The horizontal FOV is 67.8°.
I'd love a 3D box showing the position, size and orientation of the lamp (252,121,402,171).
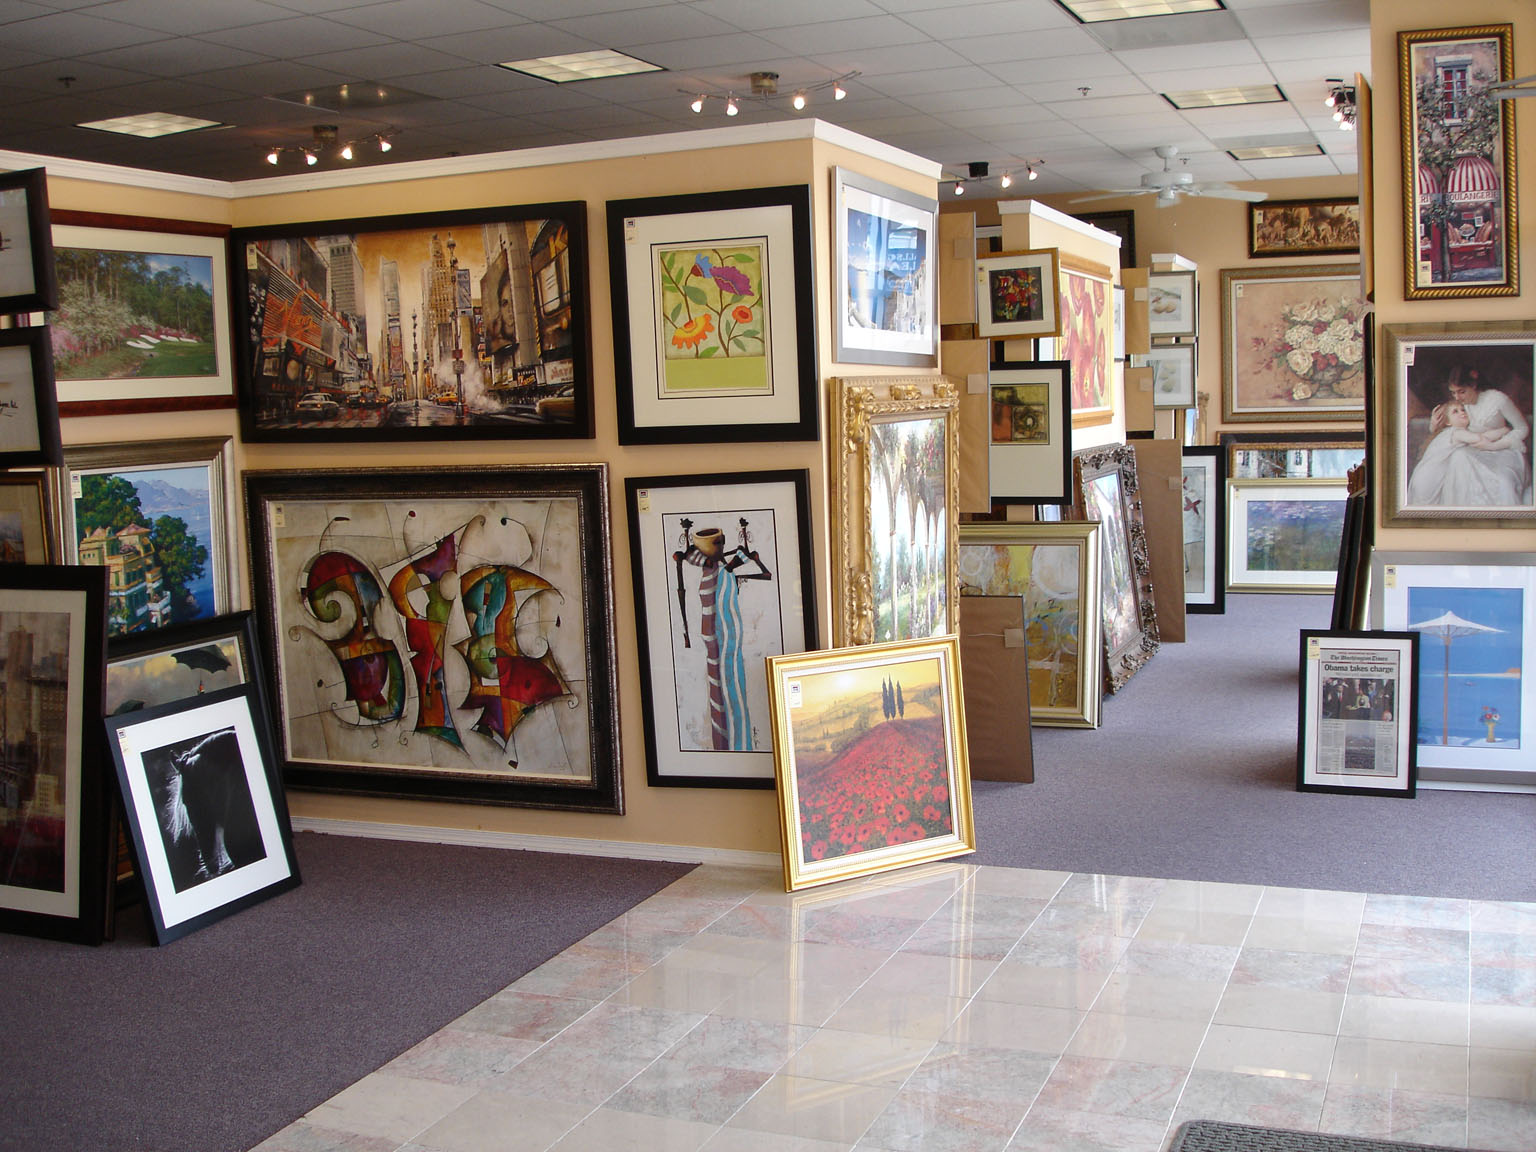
[{"bbox_3d":[-4.228,-4.097,10.907,0.988,0.286,0.965,-3,-1,-26],"label":"lamp"}]
